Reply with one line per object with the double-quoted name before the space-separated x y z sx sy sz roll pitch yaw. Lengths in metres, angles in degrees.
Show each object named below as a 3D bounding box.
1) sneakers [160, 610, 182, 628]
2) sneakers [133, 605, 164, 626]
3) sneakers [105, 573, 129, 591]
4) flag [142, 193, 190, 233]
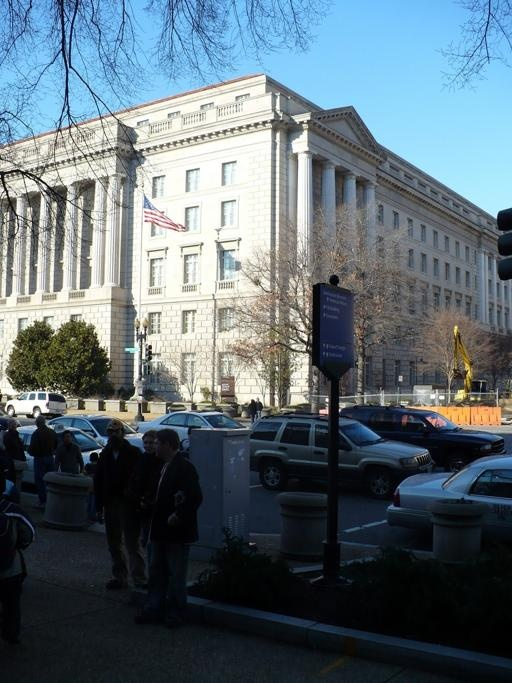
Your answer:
"sneakers" -0.689 2.310 6.183 0.127 0.122 0.163 1 -6 10
"sneakers" -0.906 2.330 6.286 0.230 0.105 0.117 3 -6 -7
"sneakers" -1.410 2.466 7.539 0.093 0.097 0.252 -4 -17 19
"flag" -5.276 -7.104 41.383 1.976 1.694 4.023 2 -6 -4
